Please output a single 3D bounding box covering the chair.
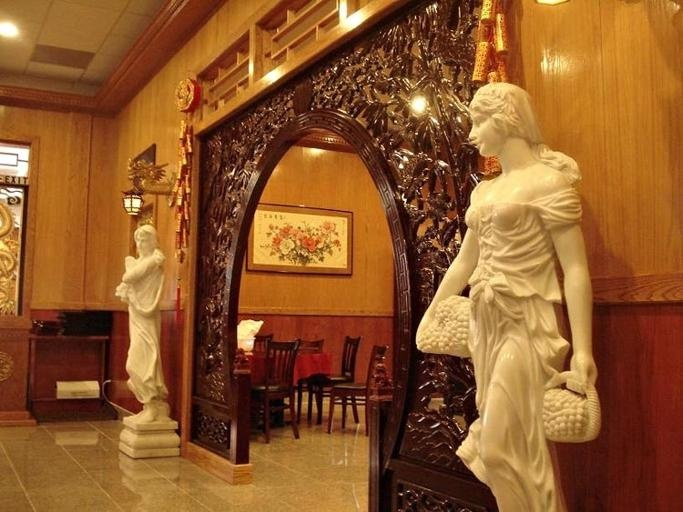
[{"bbox_3d":[-0.390,1.504,6.892,1.371,1.065,2.193,1,-6,-9],"label":"chair"}]

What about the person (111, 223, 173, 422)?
[{"bbox_3d":[-2.000,0.668,5.769,0.501,1.934,0.329,1,-6,-14],"label":"person"}]

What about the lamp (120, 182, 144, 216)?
[{"bbox_3d":[-2.498,-0.695,6.802,0.179,0.411,0.225,-1,-5,-17],"label":"lamp"}]
